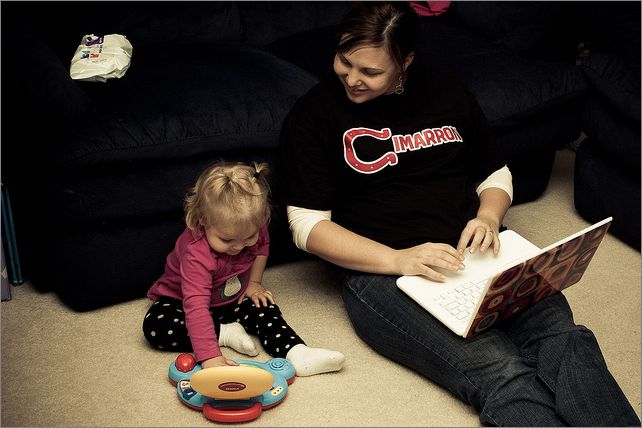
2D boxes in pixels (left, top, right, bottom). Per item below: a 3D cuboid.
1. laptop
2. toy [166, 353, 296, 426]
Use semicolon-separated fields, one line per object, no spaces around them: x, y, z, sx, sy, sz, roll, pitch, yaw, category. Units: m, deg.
0.585;0.107;1.579;0.538;0.344;0.335;-17;45;-25;laptop
-0.278;0.484;1.499;0.404;0.228;0.201;-1;36;-5;toy
